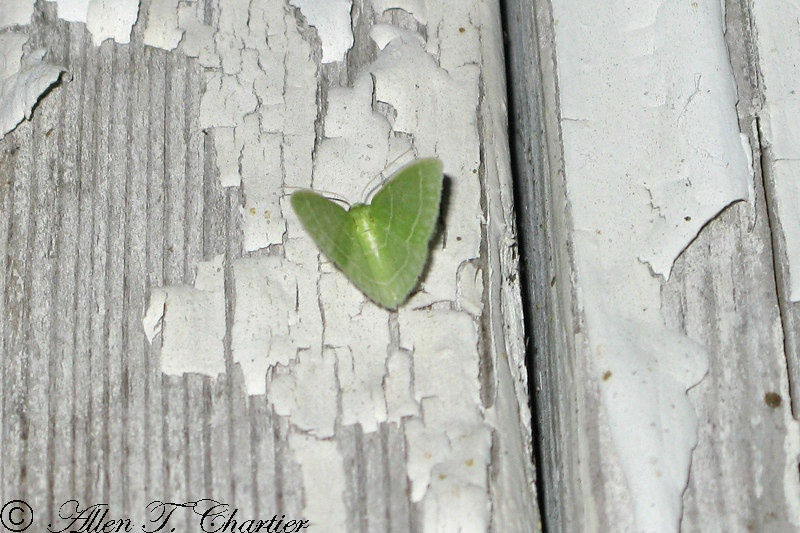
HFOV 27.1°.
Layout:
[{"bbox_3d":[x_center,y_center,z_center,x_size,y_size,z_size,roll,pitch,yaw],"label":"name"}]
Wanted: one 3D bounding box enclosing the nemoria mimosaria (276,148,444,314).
[{"bbox_3d":[-0.042,-0.052,3.017,0.314,0.210,0.261,0,76,2],"label":"nemoria mimosaria"}]
